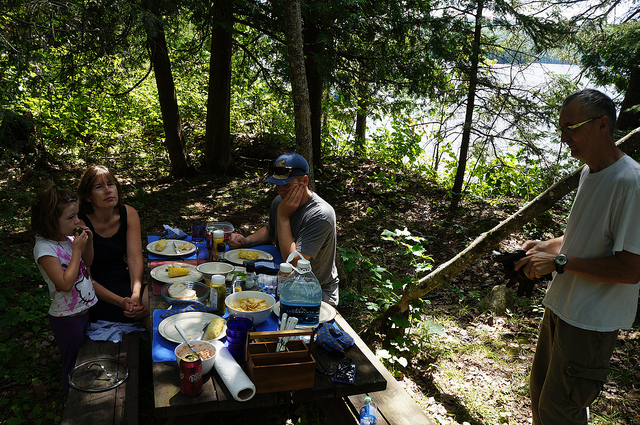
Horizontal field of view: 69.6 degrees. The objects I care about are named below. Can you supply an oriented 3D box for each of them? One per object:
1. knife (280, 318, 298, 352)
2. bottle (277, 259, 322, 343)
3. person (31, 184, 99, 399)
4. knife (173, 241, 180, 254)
[{"bbox_3d":[-0.302,1.193,4.516,0.082,0.373,0.030,26,-4,-9],"label":"knife"},{"bbox_3d":[-0.164,0.887,4.922,0.354,0.926,0.470,-2,11,-28],"label":"bottle"},{"bbox_3d":[-2.969,0.980,5.465,0.625,2.538,0.871,-5,16,-32],"label":"person"},{"bbox_3d":[-1.881,0.462,6.034,0.042,0.035,0.333,-9,23,-16],"label":"knife"}]
